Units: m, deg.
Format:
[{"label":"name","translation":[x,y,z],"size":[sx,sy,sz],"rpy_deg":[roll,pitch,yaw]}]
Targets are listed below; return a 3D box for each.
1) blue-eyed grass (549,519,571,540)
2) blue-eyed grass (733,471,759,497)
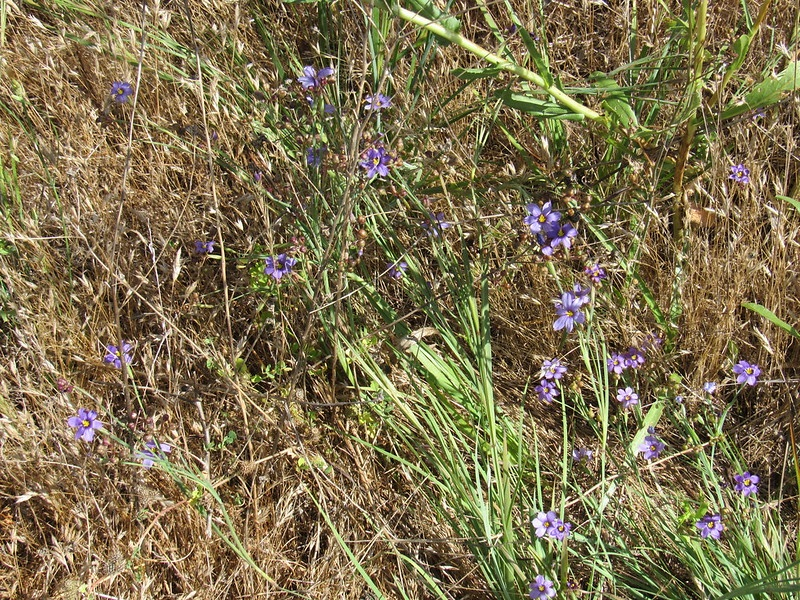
[{"label":"blue-eyed grass","translation":[0.655,0.947,3.373],"size":[0.074,0.031,0.098],"rpy_deg":[-22,75,25]},{"label":"blue-eyed grass","translation":[1.517,0.807,3.591],"size":[0.099,0.042,0.119],"rpy_deg":[-16,68,-2]}]
